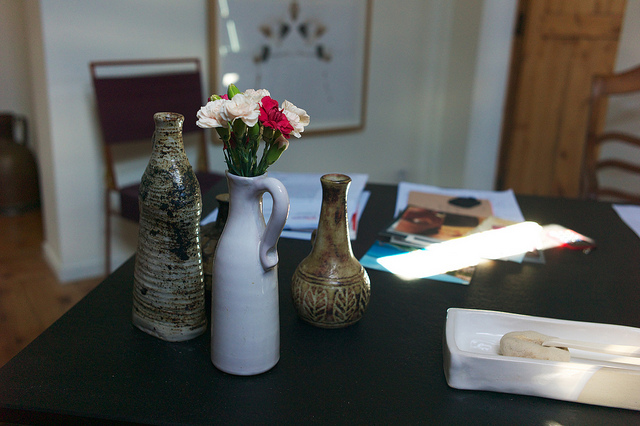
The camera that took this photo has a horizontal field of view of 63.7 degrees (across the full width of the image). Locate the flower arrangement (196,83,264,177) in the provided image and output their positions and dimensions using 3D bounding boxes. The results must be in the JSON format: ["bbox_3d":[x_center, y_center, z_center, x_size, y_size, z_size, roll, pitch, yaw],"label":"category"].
[{"bbox_3d":[-0.150,-0.134,0.878,0.108,0.131,0.064,-2,21,-5],"label":"flower arrangement"}]

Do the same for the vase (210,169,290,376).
[{"bbox_3d":[-0.117,0.106,0.934,0.166,0.361,0.151,16,21,38],"label":"vase"}]

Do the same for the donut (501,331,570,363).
[{"bbox_3d":[0.396,0.247,0.931,0.123,0.038,0.130,3,4,23],"label":"donut"}]

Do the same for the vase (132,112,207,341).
[{"bbox_3d":[-0.273,0.026,0.984,0.166,0.406,0.124,7,11,17],"label":"vase"}]
